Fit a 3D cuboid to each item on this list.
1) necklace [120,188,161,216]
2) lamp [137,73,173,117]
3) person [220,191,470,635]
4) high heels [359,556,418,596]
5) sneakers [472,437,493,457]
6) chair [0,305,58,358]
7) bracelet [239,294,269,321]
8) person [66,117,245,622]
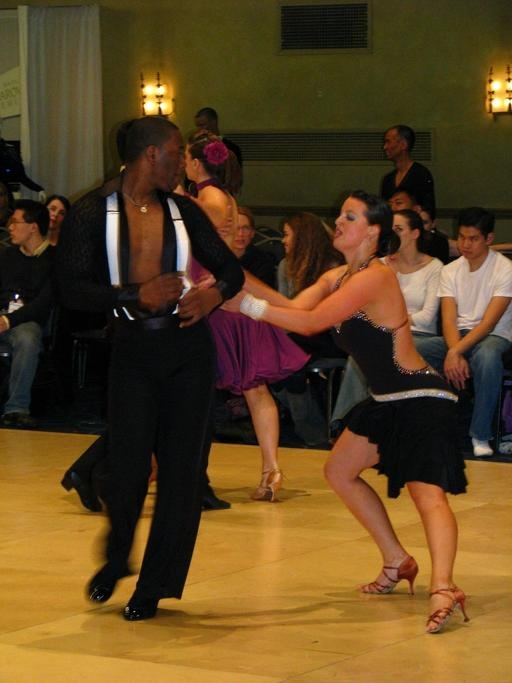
[{"bbox_3d":[-0.275,-0.327,1.497,0.085,0.054,0.031,1,-5,-13],"label":"necklace"},{"bbox_3d":[-1.605,-3.994,10.220,0.546,0.672,0.253,1,-5,-9],"label":"lamp"},{"bbox_3d":[0.315,0.148,1.925,0.716,1.231,0.455,-3,-6,35],"label":"person"},{"bbox_3d":[0.404,0.697,1.883,0.228,0.113,0.081,-5,1,10],"label":"high heels"},{"bbox_3d":[1.455,0.677,4.051,0.095,0.055,0.151,-4,9,0],"label":"sneakers"},{"bbox_3d":[-1.815,-0.090,5.055,0.347,0.320,0.255,0,3,-6],"label":"chair"},{"bbox_3d":[0.000,-0.103,1.980,0.098,0.066,0.072,19,-6,5],"label":"bracelet"},{"bbox_3d":[-0.242,0.084,1.566,0.409,1.270,0.437,1,-5,1],"label":"person"}]
